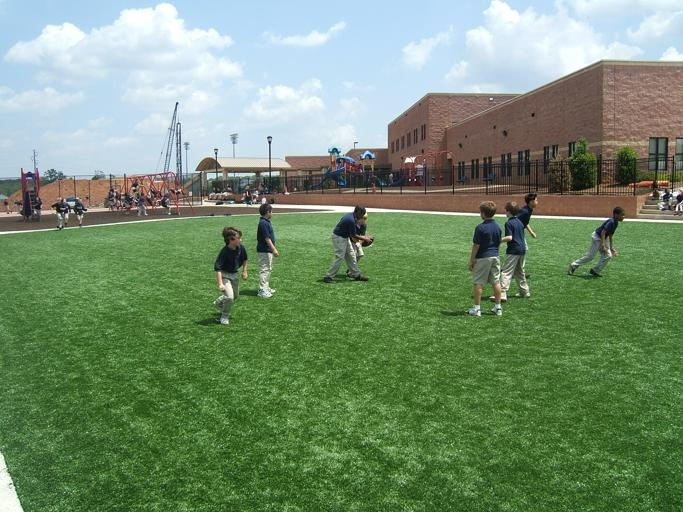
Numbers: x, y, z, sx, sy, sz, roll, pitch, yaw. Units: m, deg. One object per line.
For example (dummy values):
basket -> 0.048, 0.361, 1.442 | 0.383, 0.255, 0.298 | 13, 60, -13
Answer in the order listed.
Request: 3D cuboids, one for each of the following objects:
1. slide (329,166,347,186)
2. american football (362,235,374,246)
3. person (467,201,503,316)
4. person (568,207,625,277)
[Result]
slide -> -0.346, -6.605, 56.163 | 1.573, 1.547, 3.204 | 0, 4, -3
american football -> 0.527, -0.278, 13.139 | 0.192, 0.203, 0.152 | 8, 13, -25
person -> 2.406, 0.054, 10.927 | 0.570, 1.875, 1.176 | 1, 4, 13
person -> 5.234, -0.265, 13.705 | 0.967, 1.420, 1.430 | 2, 4, 19
